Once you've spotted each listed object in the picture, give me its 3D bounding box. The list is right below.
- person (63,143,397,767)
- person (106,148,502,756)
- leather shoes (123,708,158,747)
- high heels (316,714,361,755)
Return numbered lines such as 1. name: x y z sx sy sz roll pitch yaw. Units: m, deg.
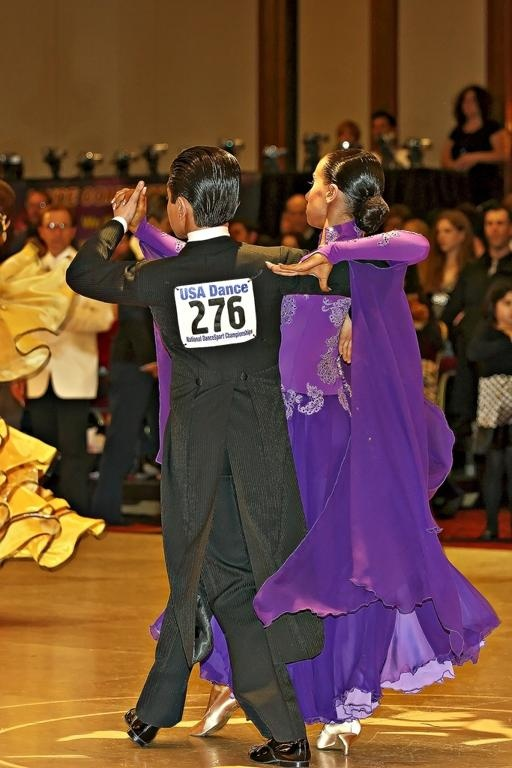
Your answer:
1. person: -0.106 0.164 1.642 0.508 1.272 0.270 -2 -3 4
2. person: 0.151 0.070 2.069 0.873 1.241 0.829 1 2 -31
3. leather shoes: -0.266 0.782 1.815 0.043 0.047 0.111 36 5 -27
4. high heels: 0.186 0.789 1.765 0.059 0.048 0.103 2 -3 -16
